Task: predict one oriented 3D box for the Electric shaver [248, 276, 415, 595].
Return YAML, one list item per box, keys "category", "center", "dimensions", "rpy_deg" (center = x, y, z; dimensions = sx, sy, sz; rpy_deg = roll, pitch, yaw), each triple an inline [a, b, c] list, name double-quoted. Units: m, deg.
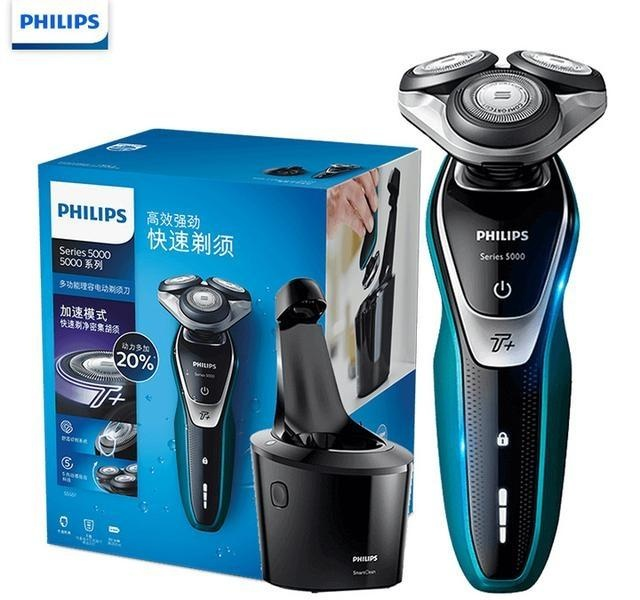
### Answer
- category: "Electric shaver"
  center: [0.018, 0.269, 1.351]
  dimensions: [0.319, 0.615, 0.153]
  rpy_deg: [-1, 7, 5]
